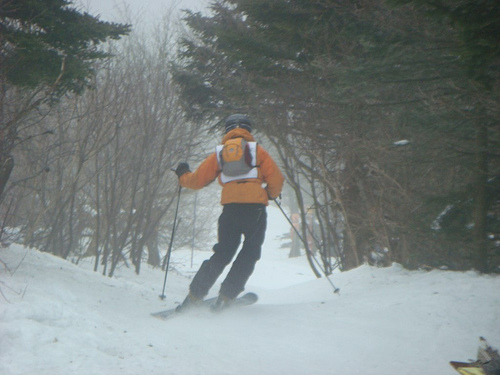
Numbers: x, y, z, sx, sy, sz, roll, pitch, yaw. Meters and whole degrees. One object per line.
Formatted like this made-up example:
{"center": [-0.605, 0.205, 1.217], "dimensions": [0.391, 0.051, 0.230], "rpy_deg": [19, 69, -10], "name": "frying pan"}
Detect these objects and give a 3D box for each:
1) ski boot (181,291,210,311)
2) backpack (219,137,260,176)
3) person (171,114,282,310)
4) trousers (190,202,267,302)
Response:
{"center": [-0.709, 1.459, 8.457], "dimensions": [0.422, 0.211, 0.135], "rpy_deg": [-5, 14, -25], "name": "ski boot"}
{"center": [-0.171, -0.331, 8.853], "dimensions": [0.427, 0.451, 0.461], "rpy_deg": [-8, -25, 11], "name": "backpack"}
{"center": [-0.247, 0.332, 8.827], "dimensions": [1.371, 2.469, 1.054], "rpy_deg": [-2, 12, -11], "name": "person"}
{"center": [-0.272, 0.831, 8.737], "dimensions": [1.169, 1.246, 0.452], "rpy_deg": [-10, 16, -39], "name": "trousers"}
